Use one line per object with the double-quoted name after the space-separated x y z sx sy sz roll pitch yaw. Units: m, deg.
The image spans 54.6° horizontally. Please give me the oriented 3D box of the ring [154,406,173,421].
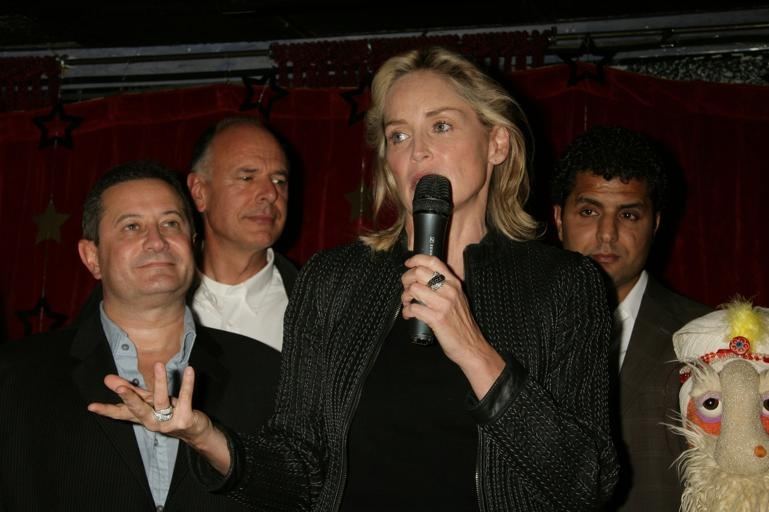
-0.857 0.611 2.857 0.049 0.030 0.058 -9 -6 -15 "ring"
